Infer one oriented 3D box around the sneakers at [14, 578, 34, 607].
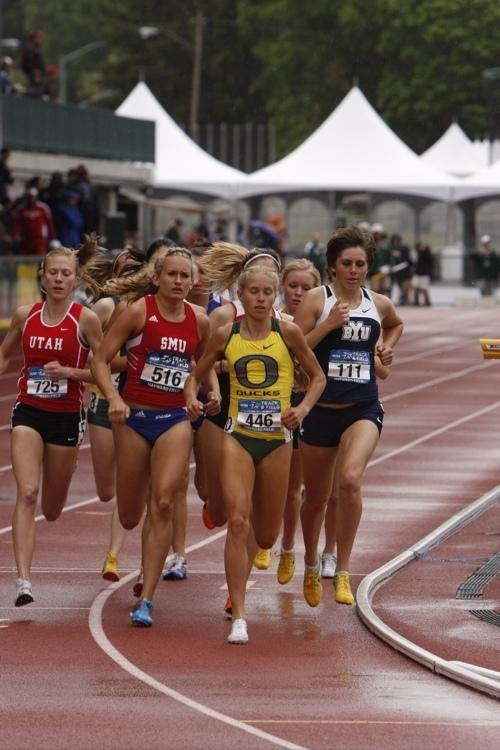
[{"bbox_3d":[-1.068,1.037,4.495,0.079,0.093,0.201,5,-21,-9],"label":"sneakers"}]
